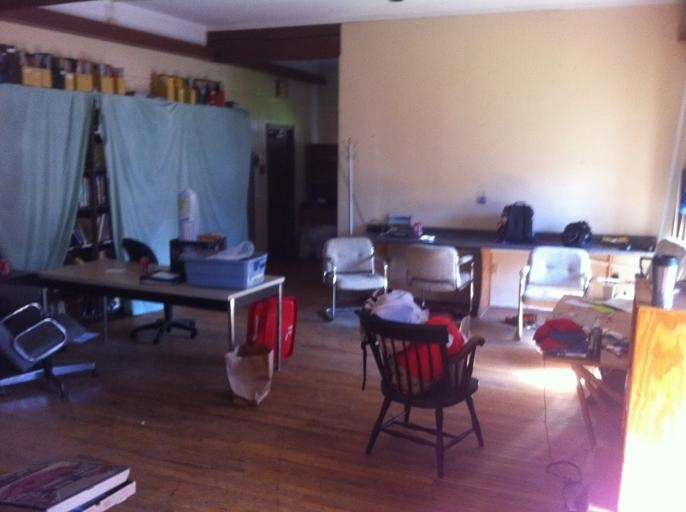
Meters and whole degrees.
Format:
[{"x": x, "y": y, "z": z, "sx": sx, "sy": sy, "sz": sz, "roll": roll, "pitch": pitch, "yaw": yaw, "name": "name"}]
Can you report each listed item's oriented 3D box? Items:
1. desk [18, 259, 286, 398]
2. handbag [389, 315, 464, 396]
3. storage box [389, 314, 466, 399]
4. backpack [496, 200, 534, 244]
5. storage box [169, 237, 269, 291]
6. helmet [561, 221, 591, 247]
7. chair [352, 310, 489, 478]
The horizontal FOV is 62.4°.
[{"x": -1.605, "y": 0.538, "z": 5.028, "sx": 2.100, "sy": 0.892, "sz": 0.690, "roll": 6, "pitch": 15, "yaw": 20, "name": "desk"}, {"x": 0.583, "y": 0.567, "z": 3.609, "sx": 0.390, "sy": 0.472, "sz": 0.508, "roll": 8, "pitch": 16, "yaw": 27, "name": "handbag"}, {"x": 0.488, "y": 0.660, "z": 3.625, "sx": 0.431, "sy": 0.574, "sz": 0.405, "roll": -2, "pitch": 31, "yaw": -2, "name": "storage box"}, {"x": 1.944, "y": -0.370, "z": 6.344, "sx": 0.387, "sy": 0.414, "sz": 0.297, "roll": 4, "pitch": 15, "yaw": 13, "name": "backpack"}, {"x": -1.019, "y": 0.068, "z": 4.641, "sx": 0.724, "sy": 0.339, "sz": 0.320, "roll": 3, "pitch": 15, "yaw": 9, "name": "storage box"}, {"x": 2.501, "y": -0.229, "z": 6.073, "sx": 0.289, "sy": 0.290, "sz": 0.234, "roll": 0, "pitch": 1, "yaw": 23, "name": "helmet"}, {"x": 0.520, "y": 0.857, "z": 3.706, "sx": 0.686, "sy": 0.980, "sz": 0.704, "roll": 4, "pitch": 8, "yaw": 42, "name": "chair"}]
